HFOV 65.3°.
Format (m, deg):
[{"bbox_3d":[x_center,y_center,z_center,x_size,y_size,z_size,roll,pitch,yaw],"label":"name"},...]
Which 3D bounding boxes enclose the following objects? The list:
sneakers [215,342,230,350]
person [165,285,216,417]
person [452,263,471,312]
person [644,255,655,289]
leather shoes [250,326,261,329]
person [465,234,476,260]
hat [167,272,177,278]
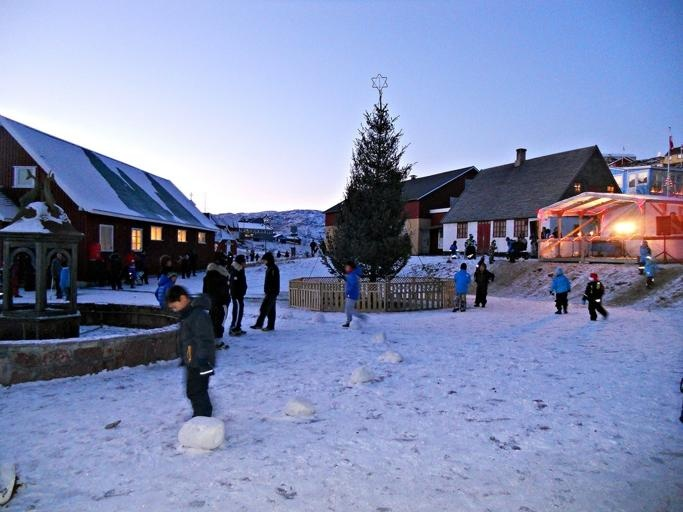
[{"bbox_3d":[-2.496,1.858,11.117,0.260,0.121,0.457,-2,12,-13],"label":"sneakers"},{"bbox_3d":[-1.993,1.339,7.253,0.673,1.897,0.433,9,14,38],"label":"person"},{"bbox_3d":[3.836,0.979,17.142,0.478,1.751,1.382,3,12,13],"label":"person"},{"bbox_3d":[11.171,0.549,19.295,0.404,1.058,0.724,7,13,30],"label":"person"},{"bbox_3d":[-2.152,1.766,13.239,0.271,0.129,0.091,-9,-6,24],"label":"leather shoes"},{"bbox_3d":[7.592,-0.493,31.465,0.513,1.067,2.498,4,12,16],"label":"person"},{"bbox_3d":[-3.644,0.409,11.428,0.221,0.153,0.149,-11,16,-43],"label":"hat"}]
